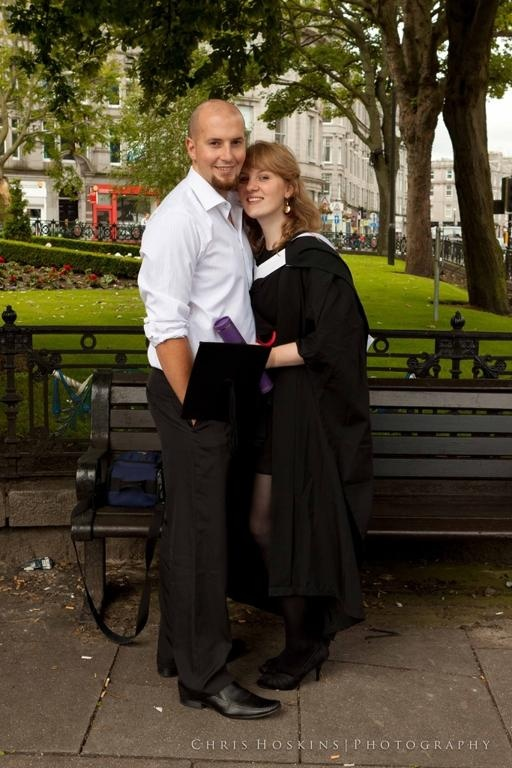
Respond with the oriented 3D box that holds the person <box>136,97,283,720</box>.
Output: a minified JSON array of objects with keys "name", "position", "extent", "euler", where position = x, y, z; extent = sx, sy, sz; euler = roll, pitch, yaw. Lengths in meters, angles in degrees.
[{"name":"person","position":[-0.169,0.070,2.837],"extent":[0.462,2.083,0.516],"euler":[0,6,-8]}]

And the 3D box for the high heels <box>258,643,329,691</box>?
[{"name":"high heels","position":[0.138,1.029,2.980],"extent":[0.138,0.126,0.357],"euler":[5,7,39]}]

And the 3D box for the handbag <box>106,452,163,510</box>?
[{"name":"handbag","position":[-0.523,0.423,3.667],"extent":[0.275,0.247,0.244],"euler":[6,6,17]}]

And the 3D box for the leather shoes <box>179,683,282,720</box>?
[{"name":"leather shoes","position":[-0.099,1.071,2.760],"extent":[0.272,0.090,0.101],"euler":[2,6,16]}]
